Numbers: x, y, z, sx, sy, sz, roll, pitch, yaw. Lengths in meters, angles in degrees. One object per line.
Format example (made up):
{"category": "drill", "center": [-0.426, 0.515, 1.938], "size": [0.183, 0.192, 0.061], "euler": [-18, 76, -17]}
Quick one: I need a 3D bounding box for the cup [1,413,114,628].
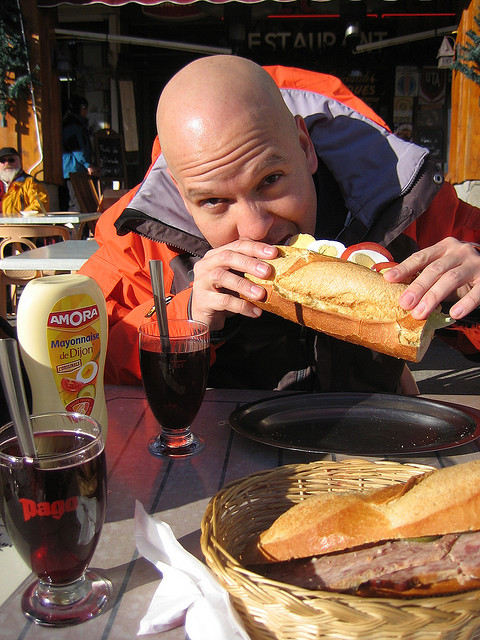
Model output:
{"category": "cup", "center": [-0.182, 0.197, 0.529], "size": [0.106, 0.168, 0.155], "euler": [-8, 16, -16]}

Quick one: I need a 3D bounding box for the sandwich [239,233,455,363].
{"category": "sandwich", "center": [0.180, -0.054, 0.948], "size": [0.377, 0.131, 0.170], "euler": [21, 54, 25]}
